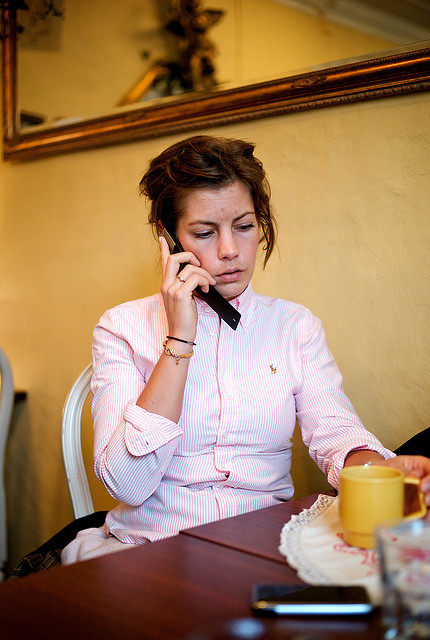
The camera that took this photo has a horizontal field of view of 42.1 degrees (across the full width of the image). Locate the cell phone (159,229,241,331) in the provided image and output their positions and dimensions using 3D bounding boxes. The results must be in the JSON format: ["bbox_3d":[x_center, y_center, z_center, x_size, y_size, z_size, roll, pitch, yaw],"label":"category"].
[{"bbox_3d":[-0.026,-0.083,1.184,0.038,0.284,0.040,-45,0,7],"label":"cell phone"}]

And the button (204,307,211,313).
[{"bbox_3d":[-0.017,-0.024,1.241,0.014,0.012,0.003,-1,-4,19],"label":"button"}]

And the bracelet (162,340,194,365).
[{"bbox_3d":[-0.074,0.061,1.111,0.043,0.047,0.013,9,-36,-1],"label":"bracelet"}]

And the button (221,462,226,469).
[{"bbox_3d":[0.016,0.292,1.118,0.011,0.009,0.003,1,-23,-15],"label":"button"}]

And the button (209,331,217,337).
[{"bbox_3d":[-0.005,0.030,1.219,0.011,0.011,0.003,-33,-28,-24],"label":"button"}]

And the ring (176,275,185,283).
[{"bbox_3d":[-0.072,-0.085,1.156,0.016,0.012,0.008,-4,-1,10],"label":"ring"}]
